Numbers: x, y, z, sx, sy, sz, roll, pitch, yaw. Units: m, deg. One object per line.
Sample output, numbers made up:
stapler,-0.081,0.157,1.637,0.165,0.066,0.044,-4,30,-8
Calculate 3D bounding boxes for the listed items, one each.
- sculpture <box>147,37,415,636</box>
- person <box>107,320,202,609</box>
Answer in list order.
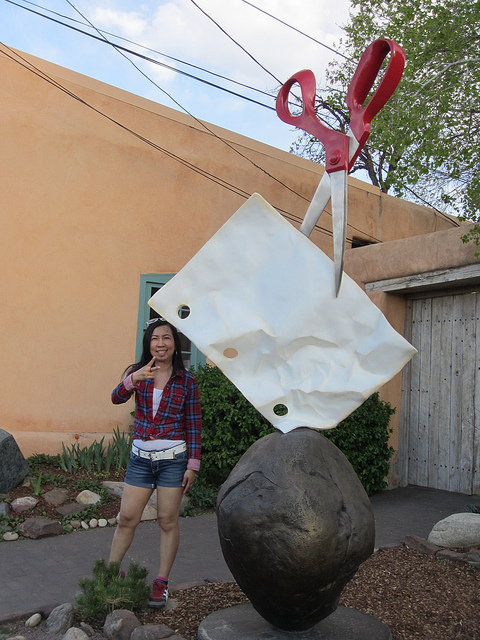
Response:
sculpture,0.264,0.207,3.118,1.343,2.833,1.183,4,0,8
person,-0.536,0.862,3.551,0.676,1.680,0.602,4,-5,-4
